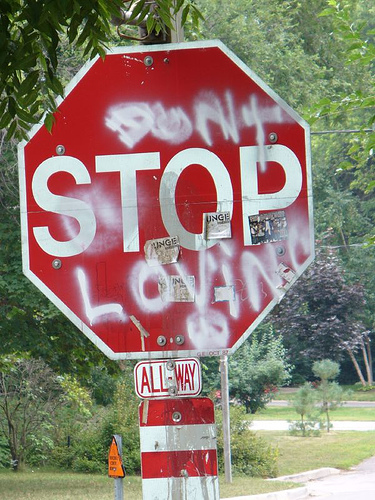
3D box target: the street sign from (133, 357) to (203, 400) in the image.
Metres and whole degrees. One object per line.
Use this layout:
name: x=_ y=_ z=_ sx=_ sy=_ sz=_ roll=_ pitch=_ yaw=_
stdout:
street sign: x=-0.103 y=0.691 z=6.272 sx=0.354 sy=0.174 sz=0.185 roll=-1 pitch=59 yaw=-6

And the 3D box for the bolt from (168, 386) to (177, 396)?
bolt: x=-0.080 y=0.745 z=6.256 sx=0.050 sy=0.012 sz=0.051 roll=0 pitch=91 yaw=1

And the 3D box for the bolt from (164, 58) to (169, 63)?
bolt: x=-0.113 y=-1.022 z=6.363 sx=0.026 sy=0.014 sz=0.026 roll=17 pitch=94 yaw=8

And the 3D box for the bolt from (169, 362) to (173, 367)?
bolt: x=-0.088 y=0.605 z=6.249 sx=0.024 sy=0.006 sz=0.023 roll=6 pitch=88 yaw=5

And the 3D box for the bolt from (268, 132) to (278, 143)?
bolt: x=0.459 y=-0.598 z=6.292 sx=0.055 sy=0.016 sz=0.056 roll=1 pitch=88 yaw=9

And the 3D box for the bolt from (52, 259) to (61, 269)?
bolt: x=-0.701 y=0.073 z=6.301 sx=0.044 sy=0.024 sz=0.043 roll=27 pitch=60 yaw=10

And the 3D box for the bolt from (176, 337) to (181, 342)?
bolt: x=-0.047 y=0.473 z=6.263 sx=0.025 sy=0.008 sz=0.018 roll=9 pitch=59 yaw=-1

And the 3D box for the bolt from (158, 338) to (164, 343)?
bolt: x=-0.141 y=0.480 z=6.262 sx=0.029 sy=0.011 sz=0.021 roll=4 pitch=59 yaw=-4

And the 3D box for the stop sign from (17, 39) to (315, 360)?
stop sign: x=-0.119 y=-0.290 z=6.297 sx=1.555 sy=0.882 sz=1.532 roll=-1 pitch=59 yaw=-7
